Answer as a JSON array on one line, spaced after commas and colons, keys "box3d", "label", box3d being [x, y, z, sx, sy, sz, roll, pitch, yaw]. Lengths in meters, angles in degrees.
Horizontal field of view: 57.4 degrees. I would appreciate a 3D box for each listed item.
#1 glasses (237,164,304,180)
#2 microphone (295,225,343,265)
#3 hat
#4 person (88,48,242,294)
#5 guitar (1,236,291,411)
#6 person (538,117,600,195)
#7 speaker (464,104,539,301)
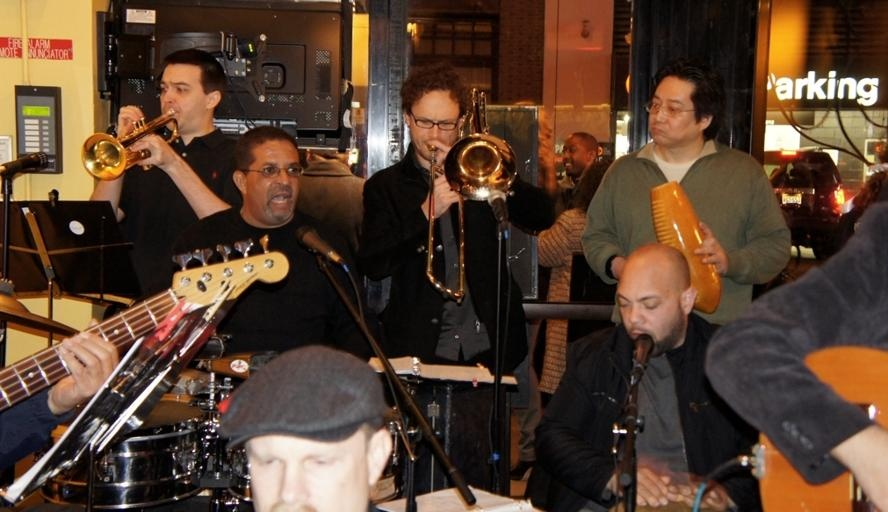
[{"box3d": [-1.069, -0.524, 5.041, 0.350, 0.081, 0.139, -3, 10, -14], "label": "glasses"}, {"box3d": [-0.659, -0.070, 4.185, 0.117, 0.112, 0.430, 35, -4, -35], "label": "microphone"}, {"box3d": [-0.512, 0.511, 2.939, 0.601, 0.350, 0.103, -1, 10, -5], "label": "hat"}, {"box3d": [-1.923, -0.585, 5.647, 0.974, 1.724, 0.852, 0, -1, -25], "label": "person"}, {"box3d": [-1.547, 0.340, 4.284, 2.027, 0.340, 0.261, -24, 8, -24], "label": "guitar"}, {"box3d": [1.220, -0.939, 7.433, 0.462, 0.939, 0.522, 2, 7, 8], "label": "person"}, {"box3d": [0.526, -0.425, 6.612, 0.577, 1.585, 0.670, 2, 2, 2], "label": "speaker"}]
